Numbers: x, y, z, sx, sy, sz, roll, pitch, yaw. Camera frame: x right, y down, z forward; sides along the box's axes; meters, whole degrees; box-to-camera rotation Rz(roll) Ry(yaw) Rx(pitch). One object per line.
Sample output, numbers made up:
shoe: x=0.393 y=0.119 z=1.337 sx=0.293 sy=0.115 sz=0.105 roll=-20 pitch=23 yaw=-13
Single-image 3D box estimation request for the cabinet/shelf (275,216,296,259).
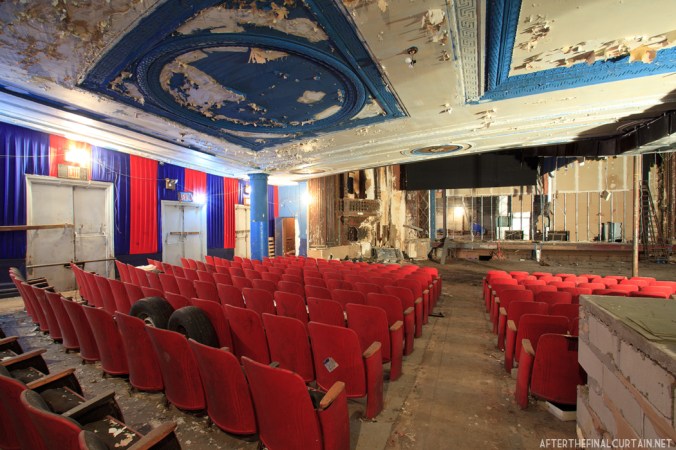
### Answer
cabinet/shelf: x=-2.351 y=0.500 z=17.869 sx=0.675 sy=1.634 sz=1.351 roll=-3 pitch=2 yaw=12
